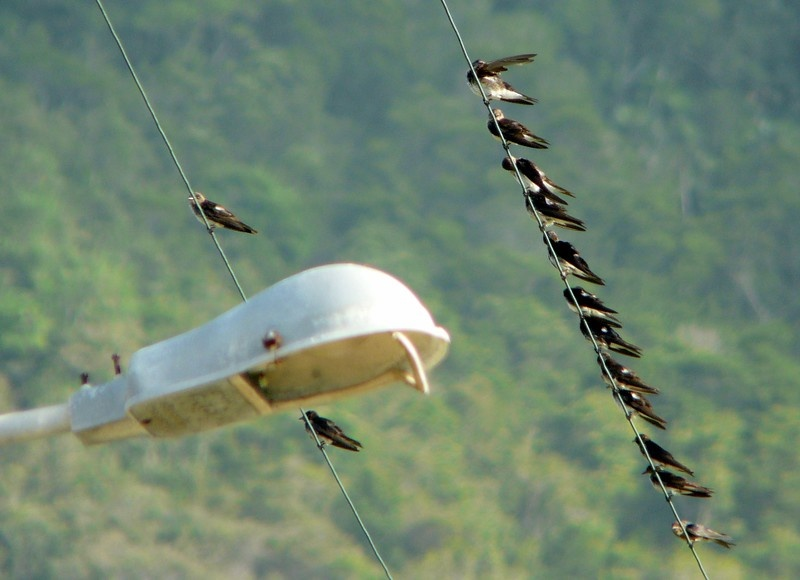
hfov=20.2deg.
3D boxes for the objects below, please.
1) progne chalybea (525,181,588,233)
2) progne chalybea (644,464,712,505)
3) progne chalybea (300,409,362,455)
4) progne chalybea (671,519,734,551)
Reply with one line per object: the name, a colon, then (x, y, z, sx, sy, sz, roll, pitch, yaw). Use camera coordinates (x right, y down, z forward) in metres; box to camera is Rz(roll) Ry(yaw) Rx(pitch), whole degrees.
progne chalybea: (2.464, -1.389, 36.758, 1.405, 0.520, 0.436, 17, -14, 14)
progne chalybea: (4.847, 3.231, 37.429, 1.539, 0.420, 0.569, 0, 44, 6)
progne chalybea: (-1.204, 2.302, 37.164, 1.113, 0.536, 0.369, 9, -18, -35)
progne chalybea: (5.071, 4.084, 37.700, 1.392, 0.466, 0.377, 1, -5, -6)
